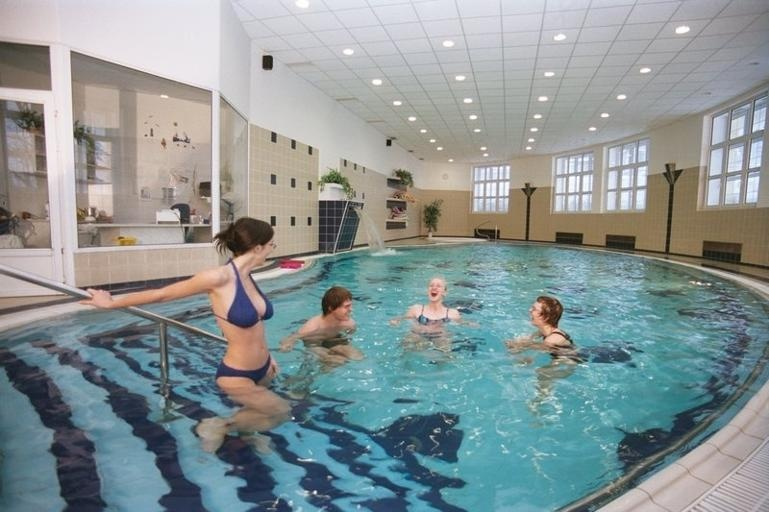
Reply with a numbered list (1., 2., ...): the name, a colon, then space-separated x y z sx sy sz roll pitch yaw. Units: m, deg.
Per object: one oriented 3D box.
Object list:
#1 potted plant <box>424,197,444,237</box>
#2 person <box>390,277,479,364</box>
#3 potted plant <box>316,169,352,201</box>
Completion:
1. potted plant: 2.188 -1.808 20.124 0.856 1.706 1.120 1 6 11
2. person: 0.465 0.559 4.435 0.889 0.657 1.004 0 5 7
3. potted plant: -1.161 -1.741 10.716 0.466 0.743 0.913 2 5 21
